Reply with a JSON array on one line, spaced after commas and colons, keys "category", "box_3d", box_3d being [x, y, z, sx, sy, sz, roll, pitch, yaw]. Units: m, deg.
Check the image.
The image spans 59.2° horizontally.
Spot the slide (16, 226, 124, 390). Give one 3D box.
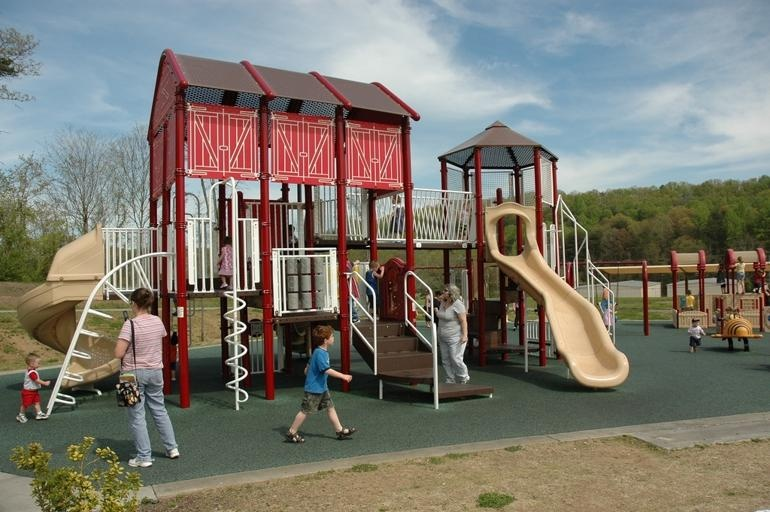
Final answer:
[{"category": "slide", "box_3d": [-7.839, 1.288, 16.940, 2.833, 3.967, 1.423, 2, 6, 31]}]

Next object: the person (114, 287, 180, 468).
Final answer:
[{"category": "person", "box_3d": [-4.215, 2.095, 12.069, 0.957, 3.044, 0.789, -3, 5, -17]}]

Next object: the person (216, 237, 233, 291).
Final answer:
[{"category": "person", "box_3d": [-3.851, 0.214, 16.361, 0.286, 1.211, 0.553, -3, 5, -18]}]

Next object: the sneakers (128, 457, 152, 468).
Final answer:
[{"category": "sneakers", "box_3d": [-4.265, 3.579, 11.934, 0.442, 0.196, 0.164, 4, -2, 9]}]

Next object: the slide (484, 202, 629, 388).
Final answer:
[{"category": "slide", "box_3d": [4.359, 0.815, 17.643, 2.004, 4.243, 4.473, -2, 5, -12]}]

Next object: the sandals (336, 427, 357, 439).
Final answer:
[{"category": "sandals", "box_3d": [-0.721, 3.360, 12.981, 0.413, 0.190, 0.148, -1, -3, -10]}]

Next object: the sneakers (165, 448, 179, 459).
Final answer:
[{"category": "sneakers", "box_3d": [-3.804, 3.510, 12.190, 0.114, 0.132, 0.300, 3, -14, -31]}]

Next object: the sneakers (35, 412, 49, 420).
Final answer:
[{"category": "sneakers", "box_3d": [-7.408, 3.404, 14.633, 0.236, 0.124, 0.260, -3, 5, -26]}]

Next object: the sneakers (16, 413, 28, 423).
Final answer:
[{"category": "sneakers", "box_3d": [-7.739, 3.395, 14.475, 0.214, 0.172, 0.366, -4, 5, -29]}]

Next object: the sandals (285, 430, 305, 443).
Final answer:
[{"category": "sandals", "box_3d": [-1.720, 3.381, 12.889, 0.336, 0.145, 0.182, 0, -1, 40]}]

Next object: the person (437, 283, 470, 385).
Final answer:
[{"category": "person", "box_3d": [1.583, 1.844, 15.890, 0.753, 2.247, 0.603, 1, 5, 23]}]

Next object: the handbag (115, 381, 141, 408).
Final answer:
[{"category": "handbag", "box_3d": [-4.500, 2.360, 11.823, 0.445, 0.460, 0.374, -1, 3, -15]}]
